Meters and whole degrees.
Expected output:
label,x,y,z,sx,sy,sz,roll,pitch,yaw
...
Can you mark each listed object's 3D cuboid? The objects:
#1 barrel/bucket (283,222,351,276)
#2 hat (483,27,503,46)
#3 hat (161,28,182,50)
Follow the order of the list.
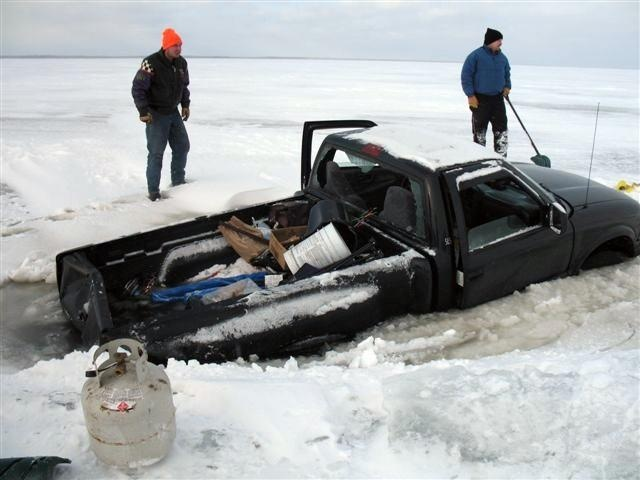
label,x,y,z,sx,sy,sz,roll,pitch,yaw
barrel/bucket,-0.006,0.090,4.269,0.352,0.233,0.235,-26,38,13
hat,2.762,-3.246,8.059,0.248,0.250,0.331,6,22,18
hat,-2.012,-2.716,6.796,0.235,0.250,0.353,-8,22,-17
